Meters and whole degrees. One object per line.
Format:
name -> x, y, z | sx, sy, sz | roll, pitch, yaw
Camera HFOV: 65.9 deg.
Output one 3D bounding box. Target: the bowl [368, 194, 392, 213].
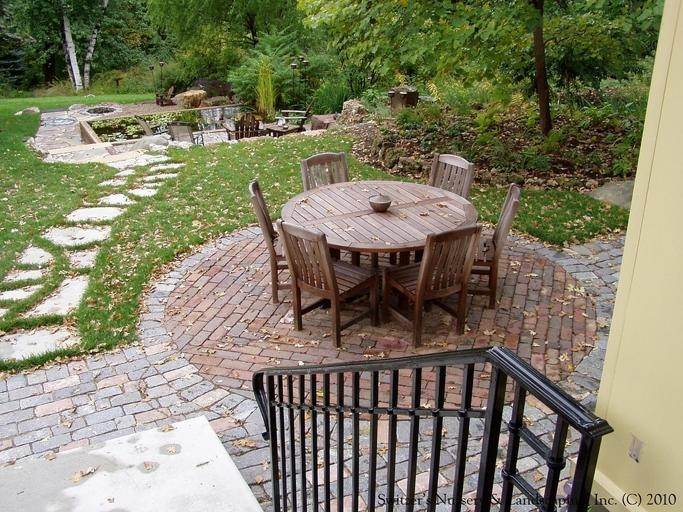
bowl -> 0.439, -0.602, 6.102 | 0.220, 0.139, 0.222 | -2, 22, 1
